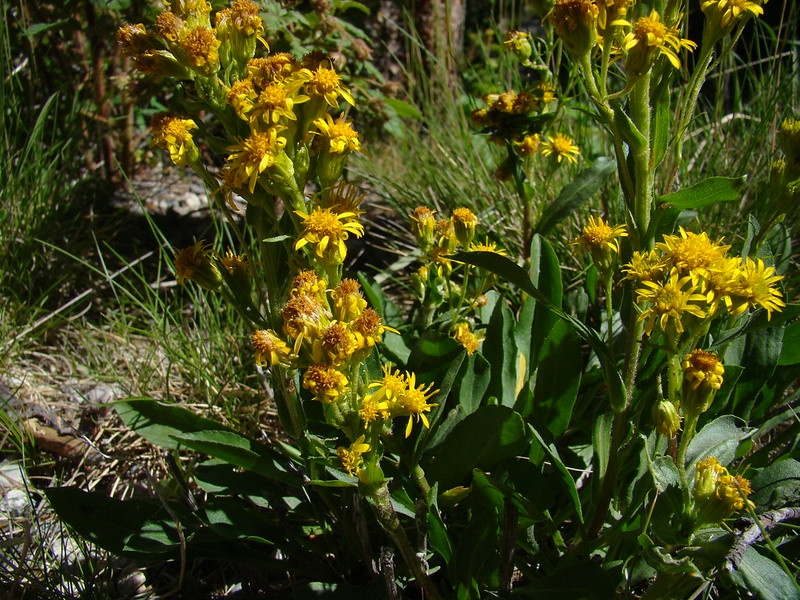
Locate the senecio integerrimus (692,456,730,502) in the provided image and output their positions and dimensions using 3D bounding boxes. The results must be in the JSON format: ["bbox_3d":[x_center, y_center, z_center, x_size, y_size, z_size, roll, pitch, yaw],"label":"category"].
[{"bbox_3d":[0.610,0.358,1.508,0.059,0.114,0.065,1,-4,10],"label":"senecio integerrimus"}]

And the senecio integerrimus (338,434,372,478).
[{"bbox_3d":[-0.092,0.310,1.512,0.065,0.078,0.034,-14,-20,27],"label":"senecio integerrimus"}]
